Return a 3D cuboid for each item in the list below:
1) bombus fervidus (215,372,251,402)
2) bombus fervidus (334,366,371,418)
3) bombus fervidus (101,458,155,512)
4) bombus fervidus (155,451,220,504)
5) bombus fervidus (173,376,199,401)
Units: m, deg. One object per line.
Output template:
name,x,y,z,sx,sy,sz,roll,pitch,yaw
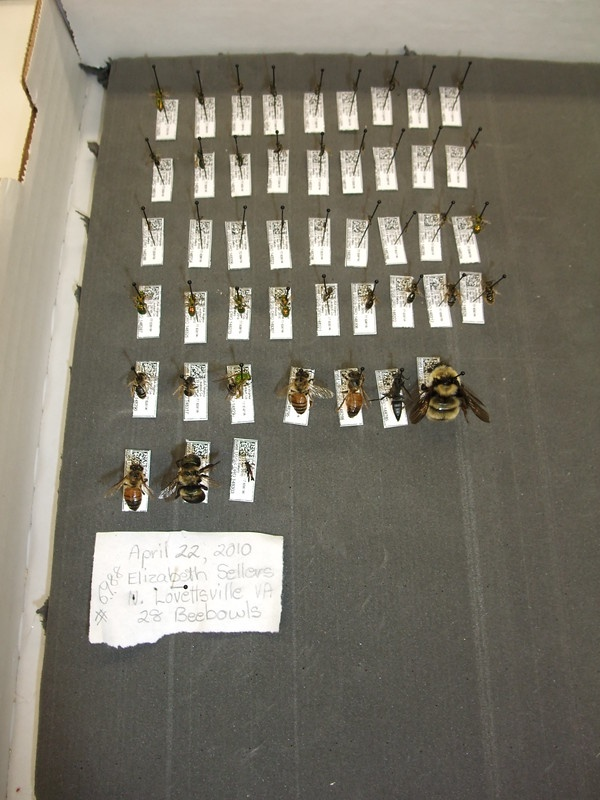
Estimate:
bombus fervidus,-0.529,-0.120,5.453,0.165,0.077,0.252,-2,29,13
bombus fervidus,0.431,-0.058,5.440,0.230,0.383,0.102,5,-8,-18
bombus fervidus,-1.262,0.645,5.209,0.284,0.377,0.100,0,0,11
bombus fervidus,-0.837,0.603,5.133,0.443,0.383,0.142,-7,-3,18
bombus fervidus,-0.915,-0.107,5.439,0.129,0.215,0.057,7,7,4
